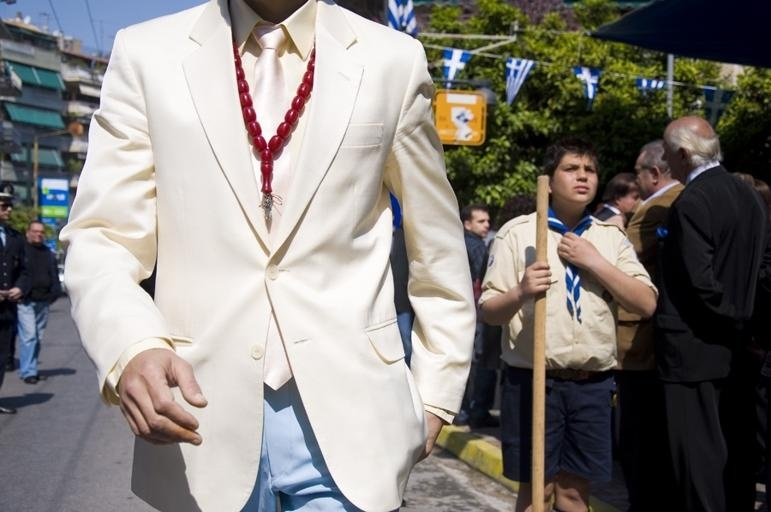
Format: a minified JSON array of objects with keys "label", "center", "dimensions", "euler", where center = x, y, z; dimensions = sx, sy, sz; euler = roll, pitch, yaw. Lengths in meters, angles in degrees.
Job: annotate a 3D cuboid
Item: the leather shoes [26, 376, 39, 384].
[{"label":"leather shoes","center":[-4.568,1.605,11.514],"dimensions":[0.192,0.086,0.259],"euler":[0,7,-22]}]
